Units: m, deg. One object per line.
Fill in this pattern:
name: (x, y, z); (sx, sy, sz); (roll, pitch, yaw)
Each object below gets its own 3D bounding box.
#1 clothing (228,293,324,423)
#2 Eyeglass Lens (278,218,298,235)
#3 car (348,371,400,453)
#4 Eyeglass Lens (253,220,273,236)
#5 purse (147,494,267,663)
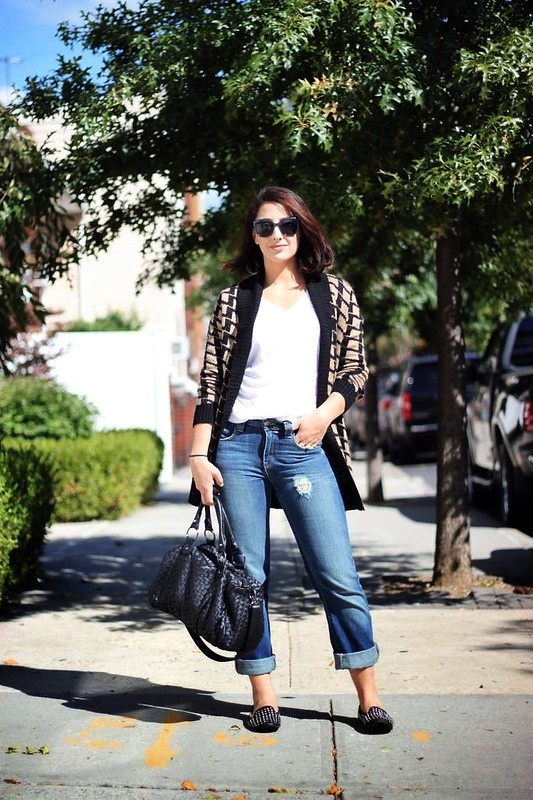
clothing: (0.025, -0.142, 2.968); (0.262, 0.405, 0.132); (3, -5, 15)
Eyeglass Lens: (0.080, -0.618, 3.145); (0.064, 0.060, 0.028); (0, -4, 28)
car: (2.974, 0.218, 22.547); (1.726, 1.426, 3.479); (-1, 1, 1)
Eyeglass Lens: (-0.006, -0.614, 3.160); (0.063, 0.061, 0.029); (8, 12, 30)
purse: (-0.195, 0.591, 3.023); (0.340, 0.503, 0.317); (-4, 8, -20)
